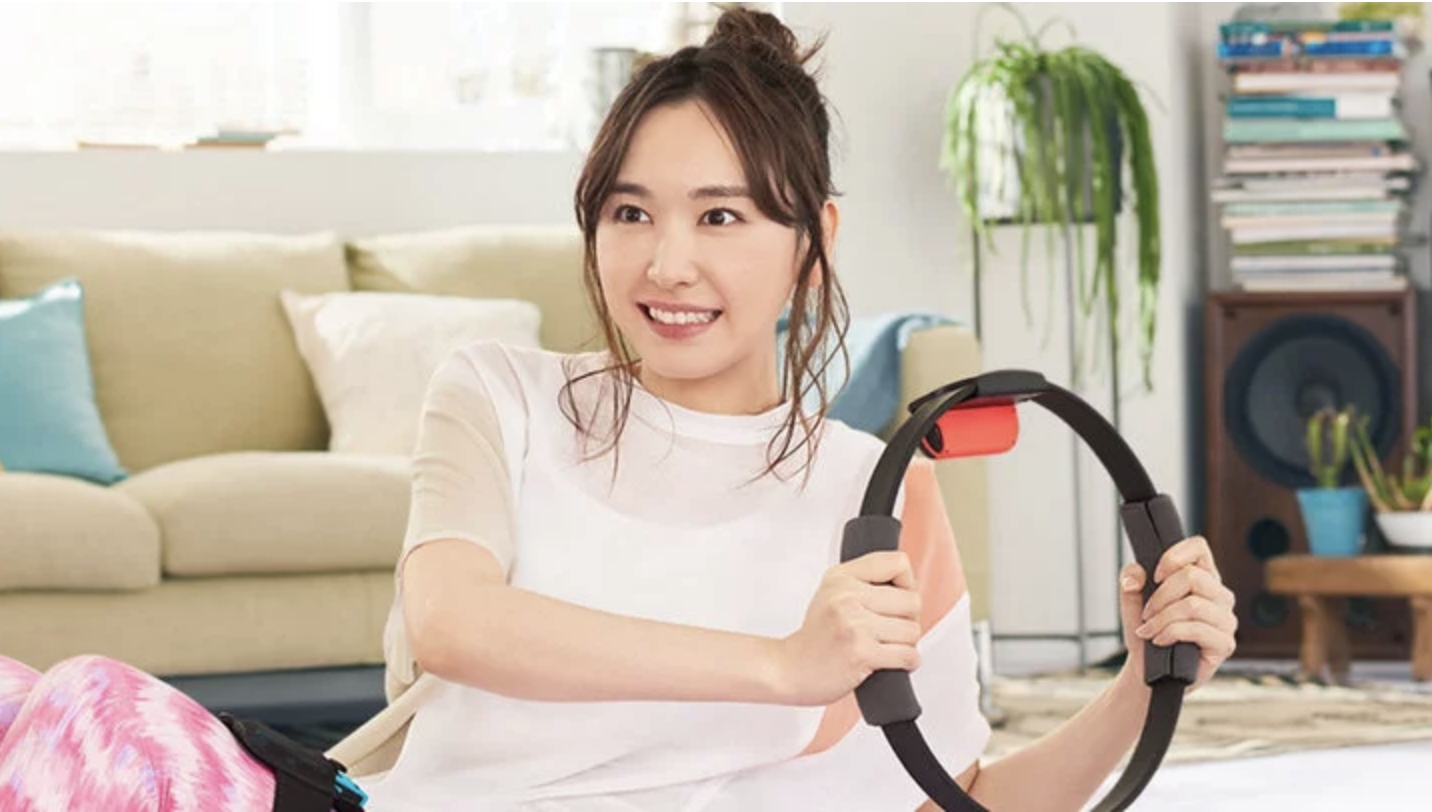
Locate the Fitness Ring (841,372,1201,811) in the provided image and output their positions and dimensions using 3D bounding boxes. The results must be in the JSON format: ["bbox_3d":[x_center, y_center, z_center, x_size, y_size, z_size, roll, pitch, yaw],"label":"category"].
[{"bbox_3d":[0.430,0.246,1.816,0.558,0.614,0.192,-5,5,-11],"label":"Fitness Ring"}]

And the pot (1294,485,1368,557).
[{"bbox_3d":[1.851,0.339,3.642,0.212,0.223,0.203,0,-6,0],"label":"pot"}]
